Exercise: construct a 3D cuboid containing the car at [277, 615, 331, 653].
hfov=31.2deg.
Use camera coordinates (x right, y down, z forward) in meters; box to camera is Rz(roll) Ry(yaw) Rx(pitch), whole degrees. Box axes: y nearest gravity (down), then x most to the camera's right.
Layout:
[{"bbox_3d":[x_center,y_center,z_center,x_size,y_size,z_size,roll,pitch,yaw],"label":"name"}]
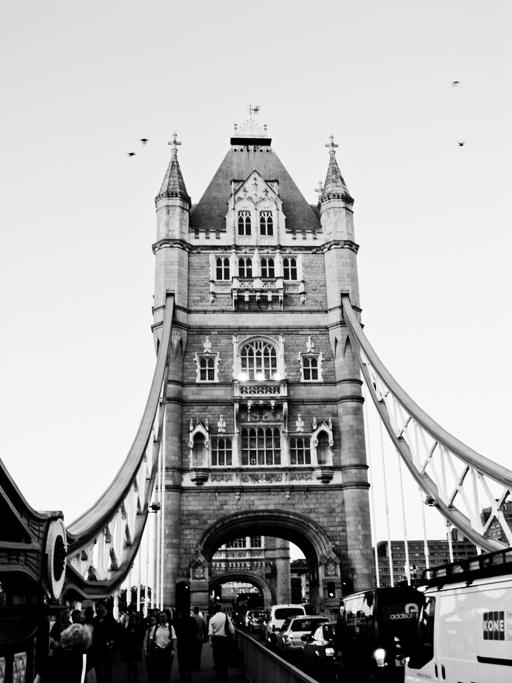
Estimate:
[{"bbox_3d":[1.045,6.780,21.464,0.696,0.730,1.578,0,-14,-4],"label":"car"}]
